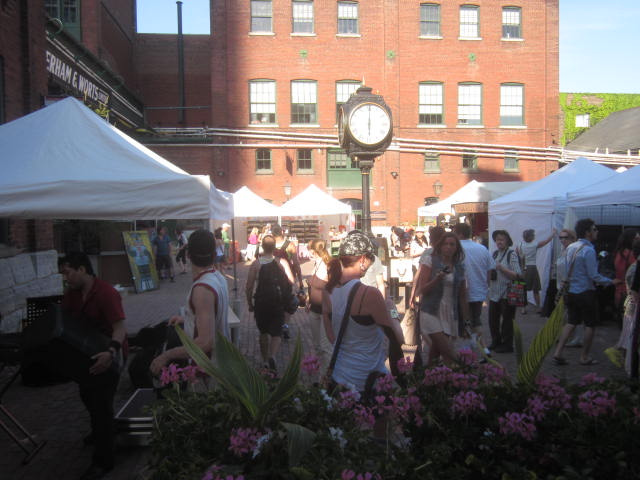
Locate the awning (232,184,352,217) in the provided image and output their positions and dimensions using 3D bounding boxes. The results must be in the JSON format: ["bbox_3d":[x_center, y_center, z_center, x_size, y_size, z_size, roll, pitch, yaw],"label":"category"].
[{"bbox_3d":[-0.995,-1.338,24.315,3.749,1.031,1.693,-2,6,-12],"label":"awning"}]

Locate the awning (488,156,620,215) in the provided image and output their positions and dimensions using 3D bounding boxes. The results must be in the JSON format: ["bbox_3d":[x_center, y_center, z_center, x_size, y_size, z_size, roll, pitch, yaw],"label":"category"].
[{"bbox_3d":[6.176,-1.537,19.248,2.539,1.367,2.767,-1,5,2],"label":"awning"}]

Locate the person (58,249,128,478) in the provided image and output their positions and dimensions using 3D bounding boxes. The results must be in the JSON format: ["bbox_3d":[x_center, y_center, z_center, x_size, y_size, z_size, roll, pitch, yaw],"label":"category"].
[{"bbox_3d":[-2.490,1.348,8.046,0.696,2.422,0.673,-3,5,-30],"label":"person"}]

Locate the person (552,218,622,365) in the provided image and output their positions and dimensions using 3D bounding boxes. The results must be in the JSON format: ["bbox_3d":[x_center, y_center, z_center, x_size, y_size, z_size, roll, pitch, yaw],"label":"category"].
[{"bbox_3d":[4.007,0.778,10.871,0.790,2.188,0.888,2,5,24],"label":"person"}]

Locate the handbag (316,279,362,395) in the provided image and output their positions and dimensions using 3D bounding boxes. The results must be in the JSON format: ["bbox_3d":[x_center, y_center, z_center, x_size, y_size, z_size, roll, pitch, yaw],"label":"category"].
[{"bbox_3d":[0.180,0.979,7.101,0.373,1.077,0.888,1,5,13],"label":"handbag"}]

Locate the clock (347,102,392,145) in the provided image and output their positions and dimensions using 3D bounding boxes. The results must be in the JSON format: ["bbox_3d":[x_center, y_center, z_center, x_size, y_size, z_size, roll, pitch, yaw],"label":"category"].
[{"bbox_3d":[0.805,-1.951,11.982,0.655,0.766,0.098,2,-4,-16],"label":"clock"}]

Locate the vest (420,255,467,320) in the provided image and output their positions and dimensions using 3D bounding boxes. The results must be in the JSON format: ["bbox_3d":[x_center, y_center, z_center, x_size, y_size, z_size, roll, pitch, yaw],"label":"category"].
[{"bbox_3d":[1.615,0.620,9.342,0.627,0.835,0.301,-5,6,-40],"label":"vest"}]

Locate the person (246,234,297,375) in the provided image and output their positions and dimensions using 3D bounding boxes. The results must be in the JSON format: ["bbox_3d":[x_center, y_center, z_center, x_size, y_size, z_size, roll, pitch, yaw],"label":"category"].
[{"bbox_3d":[-0.680,0.948,10.699,0.699,2.043,0.711,1,8,-7],"label":"person"}]

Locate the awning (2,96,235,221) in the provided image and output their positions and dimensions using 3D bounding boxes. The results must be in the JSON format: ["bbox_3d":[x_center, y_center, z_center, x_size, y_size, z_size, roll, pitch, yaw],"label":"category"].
[{"bbox_3d":[-2.791,-0.839,9.490,1.760,0.964,1.919,1,6,2],"label":"awning"}]
